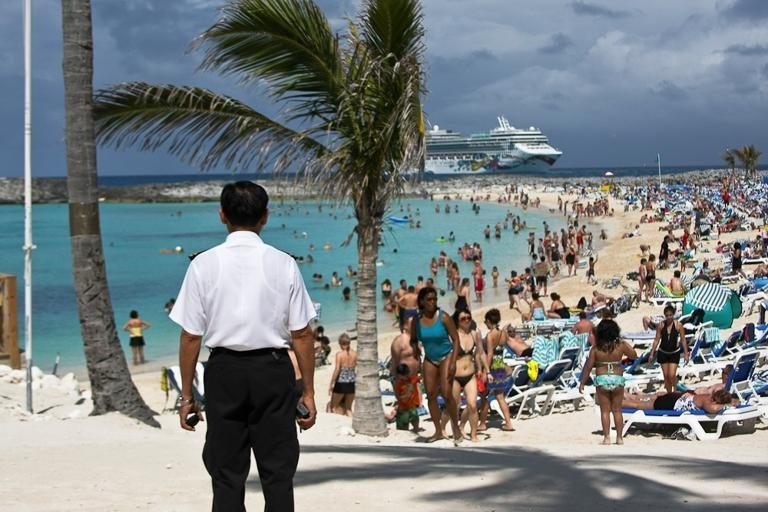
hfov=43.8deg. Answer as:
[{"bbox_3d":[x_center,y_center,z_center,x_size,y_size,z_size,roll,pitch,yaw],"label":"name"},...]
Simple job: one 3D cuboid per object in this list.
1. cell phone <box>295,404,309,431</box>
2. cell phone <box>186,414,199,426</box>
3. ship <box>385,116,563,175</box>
[{"bbox_3d":[-0.917,1.803,10.765,0.141,0.309,0.145,-3,1,-28],"label":"cell phone"},{"bbox_3d":[-2.127,1.872,10.907,0.144,0.130,0.244,0,-1,-1],"label":"cell phone"},{"bbox_3d":[15.206,-17.214,149.416,27.091,8.416,6.775,3,6,40],"label":"ship"}]
